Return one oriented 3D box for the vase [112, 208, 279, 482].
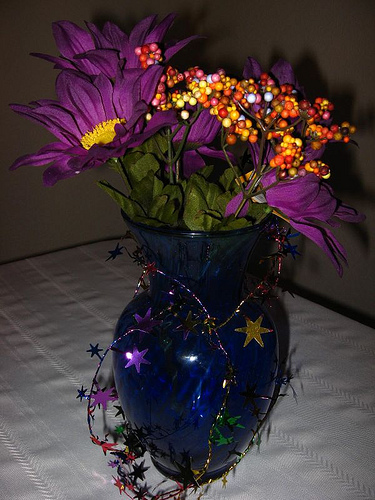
[{"bbox_3d":[0.014,0.095,0.442,0.167,0.281,0.142,2,37,-15],"label":"vase"}]
